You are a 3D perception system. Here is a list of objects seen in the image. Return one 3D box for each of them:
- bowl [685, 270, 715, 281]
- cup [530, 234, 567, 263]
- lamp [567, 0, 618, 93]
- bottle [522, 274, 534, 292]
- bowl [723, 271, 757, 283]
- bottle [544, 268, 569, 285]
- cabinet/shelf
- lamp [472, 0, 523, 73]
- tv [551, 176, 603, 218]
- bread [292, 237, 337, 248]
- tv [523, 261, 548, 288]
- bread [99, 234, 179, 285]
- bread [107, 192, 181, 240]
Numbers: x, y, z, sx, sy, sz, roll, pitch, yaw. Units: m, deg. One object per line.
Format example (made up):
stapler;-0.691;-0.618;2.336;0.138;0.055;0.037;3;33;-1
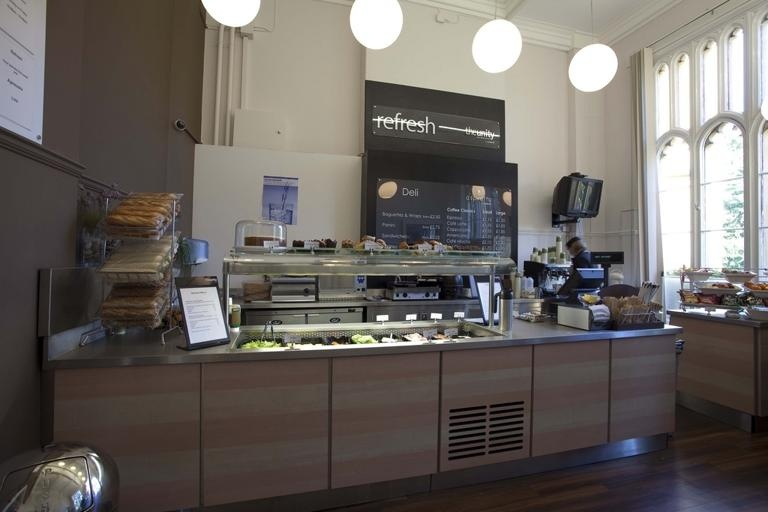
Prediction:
bowl;3.166;0.207;5.664;0.245;0.120;0.128;0;1;33
cup;1.944;-0.016;6.645;0.403;0.425;0.453;-1;-2;15
lamp;1.858;-1.675;4.995;0.379;0.389;0.242;-1;0;15
bottle;1.586;0.311;6.171;0.145;0.243;0.137;1;-12;0
bowl;3.503;0.222;5.554;0.239;0.135;0.189;-1;1;20
bottle;1.934;0.230;6.273;0.228;0.201;0.185;2;4;3
cabinet/shelf;-0.109;0.160;4.455;2.234;0.562;0.205;-1;0;-14
lamp;0.971;-1.808;4.832;0.386;0.571;0.181;-1;0;9
tv;2.655;-0.811;7.913;0.787;0.730;0.548;0;5;-18
bread;-0.602;-0.097;4.856;0.344;0.078;0.989;-1;1;-8
tv;1.714;0.220;6.388;0.270;0.317;0.237;-1;0;-1
bread;-1.774;0.028;4.064;0.426;0.324;0.279;-1;0;3
bread;-1.732;-0.350;4.137;0.359;0.130;0.412;2;24;-5
